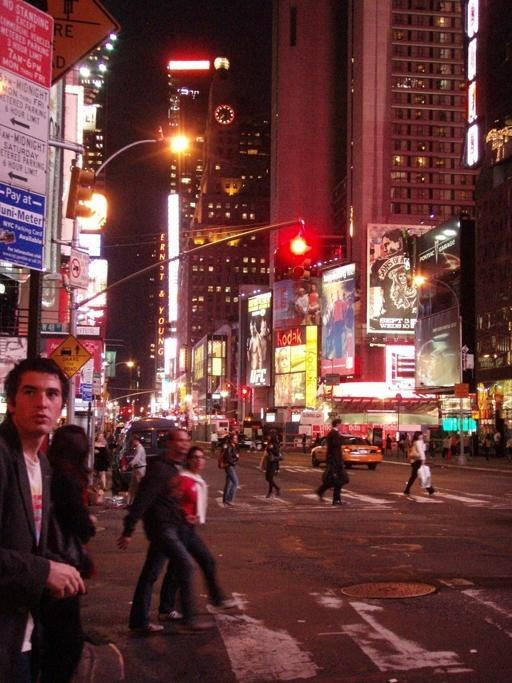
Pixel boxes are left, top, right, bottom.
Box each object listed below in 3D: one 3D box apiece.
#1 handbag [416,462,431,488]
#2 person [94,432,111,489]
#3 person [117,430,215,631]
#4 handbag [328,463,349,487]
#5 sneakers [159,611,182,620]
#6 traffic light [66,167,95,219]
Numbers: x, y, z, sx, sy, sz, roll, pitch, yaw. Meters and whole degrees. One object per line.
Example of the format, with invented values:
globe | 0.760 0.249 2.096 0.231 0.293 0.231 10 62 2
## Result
handbag | 4.553 3.699 21.508 0.281 0.649 0.786 -2 -7 10
person | -4.749 3.581 23.756 0.586 1.883 0.575 -4 19 -24
person | -0.875 1.673 7.055 0.693 1.759 0.756 1 -6 -10
handbag | 1.887 3.254 18.812 0.498 0.573 0.437 -1 -6 8
sneakers | -0.810 2.579 7.413 0.211 0.091 0.078 0 -8 -5
traffic light | -3.318 -2.904 14.839 0.499 0.960 1.104 1 -7 -14
